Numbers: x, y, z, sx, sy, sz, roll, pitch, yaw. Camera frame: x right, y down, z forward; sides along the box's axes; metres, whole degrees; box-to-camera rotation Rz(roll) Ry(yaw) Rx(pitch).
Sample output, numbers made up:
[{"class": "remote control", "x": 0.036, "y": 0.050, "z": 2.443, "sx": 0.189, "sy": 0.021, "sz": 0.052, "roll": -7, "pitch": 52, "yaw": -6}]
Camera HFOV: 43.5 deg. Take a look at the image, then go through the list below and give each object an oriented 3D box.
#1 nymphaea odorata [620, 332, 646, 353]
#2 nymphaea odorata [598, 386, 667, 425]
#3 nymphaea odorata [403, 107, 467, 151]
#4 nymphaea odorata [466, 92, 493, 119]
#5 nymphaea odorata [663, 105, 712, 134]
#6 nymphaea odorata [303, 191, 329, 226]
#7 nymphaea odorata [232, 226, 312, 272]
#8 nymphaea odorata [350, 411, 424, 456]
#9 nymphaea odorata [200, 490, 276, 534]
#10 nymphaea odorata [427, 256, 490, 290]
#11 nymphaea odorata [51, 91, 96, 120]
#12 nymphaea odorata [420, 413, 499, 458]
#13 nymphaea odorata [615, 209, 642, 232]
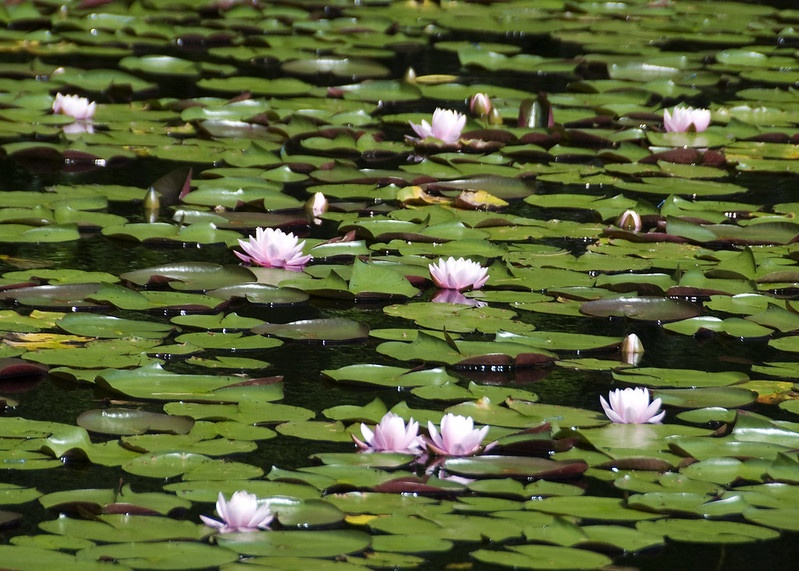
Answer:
[{"class": "nymphaea odorata", "x": 0.846, "y": 0.205, "z": 3.579, "sx": 0.098, "sy": 0.068, "sz": 0.043, "roll": 0, "pitch": 9, "yaw": -35}, {"class": "nymphaea odorata", "x": 0.734, "y": 0.374, "z": 3.142, "sx": 0.196, "sy": 0.056, "sz": 0.164, "roll": 1, "pitch": 0, "yaw": 13}, {"class": "nymphaea odorata", "x": 0.212, "y": -0.899, "z": 5.767, "sx": 0.340, "sy": 0.118, "sz": 0.358, "roll": 0, "pitch": 0, "yaw": -35}, {"class": "nymphaea odorata", "x": 0.464, "y": -1.112, "z": 6.239, "sx": 0.225, "sy": 0.121, "sz": 0.206, "roll": 1, "pitch": 21, "yaw": 3}, {"class": "nymphaea odorata", "x": 1.713, "y": -0.983, "z": 5.978, "sx": 0.262, "sy": 0.102, "sz": 0.260, "roll": -4, "pitch": 3, "yaw": -35}, {"class": "nymphaea odorata", "x": -0.391, "y": -0.359, "z": 4.669, "sx": 0.092, "sy": 0.150, "sz": 0.150, "roll": 5, "pitch": 6, "yaw": -5}, {"class": "nymphaea odorata", "x": -0.519, "y": -0.152, "z": 4.144, "sx": 0.320, "sy": 0.168, "sz": 0.225, "roll": 3, "pitch": 5, "yaw": -3}, {"class": "nymphaea odorata", "x": -0.042, "y": 0.440, "z": 2.961, "sx": 0.207, "sy": 0.054, "sz": 0.111, "roll": 2, "pitch": 7, "yaw": -7}, {"class": "nymphaea odorata", "x": -0.419, "y": 0.587, "z": 2.621, "sx": 0.189, "sy": 0.116, "sz": 0.094, "roll": 2, "pitch": 7, "yaw": -14}, {"class": "nymphaea odorata", "x": 0.243, "y": -0.048, "z": 4.014, "sx": 0.263, "sy": 0.134, "sz": 0.156, "roll": 2, "pitch": 6, "yaw": -6}, {"class": "nymphaea odorata", "x": -1.883, "y": -1.045, "z": 5.813, "sx": 0.271, "sy": 0.100, "sz": 0.239, "roll": 9, "pitch": 6, "yaw": -26}, {"class": "nymphaea odorata", "x": 0.168, "y": 0.453, "z": 2.946, "sx": 0.206, "sy": 0.057, "sz": 0.155, "roll": -5, "pitch": 12, "yaw": -7}, {"class": "nymphaea odorata", "x": 1.049, "y": -0.296, "z": 4.593, "sx": 0.172, "sy": 0.089, "sz": 0.120, "roll": 1, "pitch": 13, "yaw": -4}]
